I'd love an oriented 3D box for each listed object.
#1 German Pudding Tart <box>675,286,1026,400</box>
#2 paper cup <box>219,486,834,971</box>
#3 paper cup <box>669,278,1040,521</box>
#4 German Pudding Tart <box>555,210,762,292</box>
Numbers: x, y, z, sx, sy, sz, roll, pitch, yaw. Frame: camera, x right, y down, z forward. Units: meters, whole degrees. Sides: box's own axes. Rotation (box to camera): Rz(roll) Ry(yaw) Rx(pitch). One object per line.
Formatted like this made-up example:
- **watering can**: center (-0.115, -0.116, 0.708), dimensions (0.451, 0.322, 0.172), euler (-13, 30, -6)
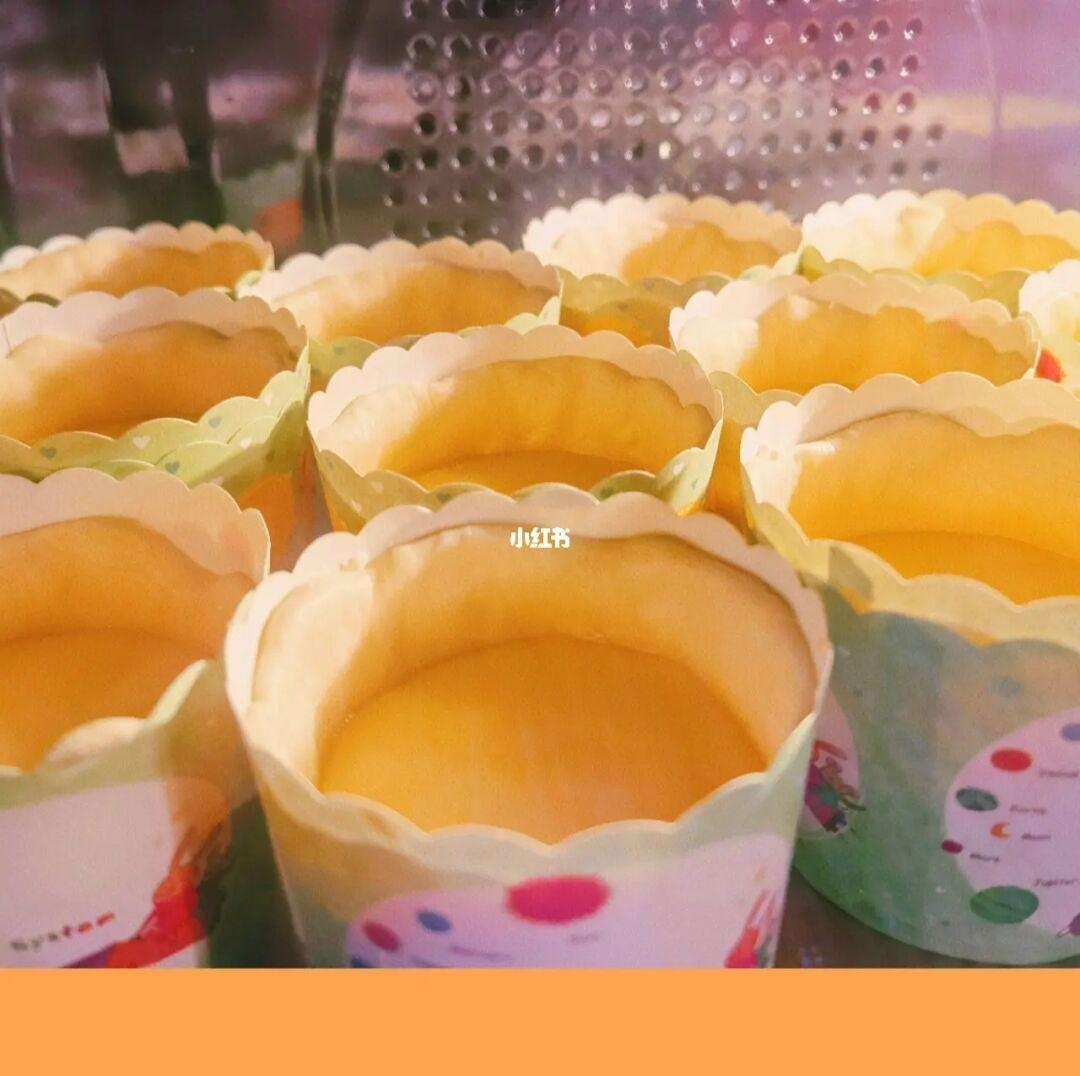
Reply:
- **German Pudding Tart**: center (0.196, -0.124, 0.619), dimensions (0.113, 0.045, 0.131), euler (-3, 22, 2)
- **paper cup**: center (-0.003, 0.077, 0.416), dimensions (0.178, 0.133, 0.204), euler (-1, 33, -1)
- **paper cup**: center (0.179, -0.124, 0.618), dimensions (0.160, 0.128, 0.185), euler (-17, 48, -14)
- **German Pudding Tart**: center (0.087, -0.211, 0.709), dimensions (0.093, 0.032, 0.100), euler (-18, 38, -22)
